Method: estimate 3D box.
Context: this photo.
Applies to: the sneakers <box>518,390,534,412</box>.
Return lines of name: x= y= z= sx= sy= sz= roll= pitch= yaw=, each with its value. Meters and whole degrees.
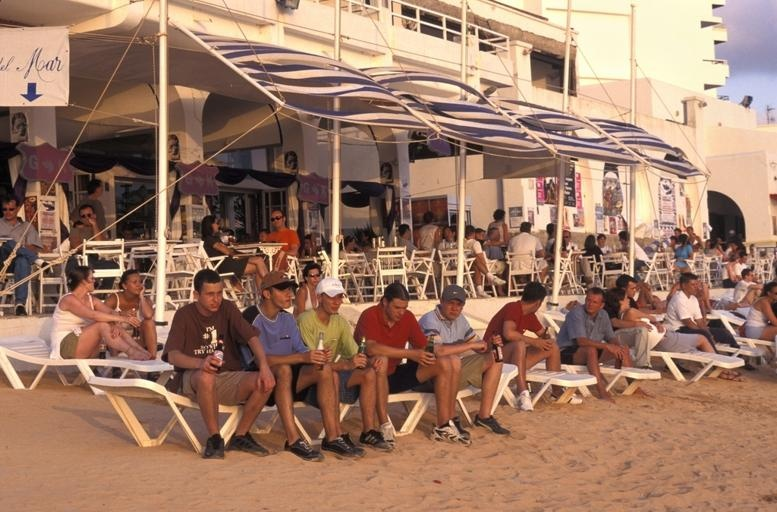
sneakers: x=2.102 y=2.216 z=13.968 sx=0.168 sy=0.168 sz=0.351 roll=0 pitch=1 yaw=-7

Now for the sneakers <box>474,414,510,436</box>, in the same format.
sneakers: x=1.466 y=2.396 z=13.033 sx=0.562 sy=0.237 sz=0.213 roll=20 pitch=5 yaw=7

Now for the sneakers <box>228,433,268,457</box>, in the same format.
sneakers: x=-1.820 y=2.415 z=11.780 sx=0.575 sy=0.263 sz=0.222 roll=5 pitch=-2 yaw=15

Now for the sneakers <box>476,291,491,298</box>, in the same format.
sneakers: x=2.033 y=0.832 z=19.584 sx=0.223 sy=0.096 sz=0.127 roll=-3 pitch=0 yaw=34

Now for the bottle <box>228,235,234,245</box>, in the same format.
bottle: x=-3.357 y=-0.339 z=19.464 sx=0.170 sy=0.173 sz=0.174 roll=0 pitch=0 yaw=-10

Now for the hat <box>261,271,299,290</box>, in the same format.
hat: x=-1.444 y=0.318 z=11.915 sx=0.421 sy=0.227 sz=0.374 roll=0 pitch=-2 yaw=-9

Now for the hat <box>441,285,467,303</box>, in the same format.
hat: x=0.901 y=0.521 z=12.628 sx=0.325 sy=0.232 sz=0.185 roll=0 pitch=-2 yaw=-4

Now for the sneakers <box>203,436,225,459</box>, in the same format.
sneakers: x=-2.222 y=2.399 z=11.572 sx=0.294 sy=0.302 sz=0.162 roll=0 pitch=-2 yaw=3

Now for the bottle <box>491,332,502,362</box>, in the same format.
bottle: x=1.500 y=1.281 z=12.607 sx=0.129 sy=0.354 sz=0.172 roll=0 pitch=-2 yaw=0

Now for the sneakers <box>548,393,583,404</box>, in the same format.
sneakers: x=2.832 y=2.279 z=14.549 sx=0.568 sy=0.241 sz=0.200 roll=-3 pitch=1 yaw=6

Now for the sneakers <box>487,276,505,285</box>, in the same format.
sneakers: x=2.328 y=0.530 z=19.808 sx=0.193 sy=0.144 sz=0.367 roll=-2 pitch=0 yaw=-38

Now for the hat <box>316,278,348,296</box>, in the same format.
hat: x=-0.773 y=0.414 z=12.004 sx=0.380 sy=0.261 sz=0.320 roll=0 pitch=-2 yaw=2

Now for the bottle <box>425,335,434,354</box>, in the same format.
bottle: x=0.570 y=1.178 z=12.386 sx=0.118 sy=0.242 sz=0.451 roll=0 pitch=-2 yaw=5

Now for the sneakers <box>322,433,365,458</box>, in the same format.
sneakers: x=-0.588 y=2.432 z=11.787 sx=0.649 sy=0.279 sz=0.227 roll=7 pitch=0 yaw=10

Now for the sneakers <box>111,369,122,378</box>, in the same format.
sneakers: x=-4.199 y=1.816 z=14.153 sx=0.154 sy=0.176 sz=0.164 roll=-1 pitch=-11 yaw=9

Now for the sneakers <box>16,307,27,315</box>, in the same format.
sneakers: x=-6.149 y=0.916 z=15.269 sx=0.103 sy=0.136 sz=0.307 roll=1 pitch=-9 yaw=-24

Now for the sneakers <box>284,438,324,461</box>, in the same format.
sneakers: x=-1.076 y=2.477 z=11.612 sx=0.533 sy=0.209 sz=0.205 roll=16 pitch=17 yaw=18

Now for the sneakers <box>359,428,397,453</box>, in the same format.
sneakers: x=-0.163 y=2.446 z=12.203 sx=0.502 sy=0.229 sz=0.206 roll=10 pitch=4 yaw=18
